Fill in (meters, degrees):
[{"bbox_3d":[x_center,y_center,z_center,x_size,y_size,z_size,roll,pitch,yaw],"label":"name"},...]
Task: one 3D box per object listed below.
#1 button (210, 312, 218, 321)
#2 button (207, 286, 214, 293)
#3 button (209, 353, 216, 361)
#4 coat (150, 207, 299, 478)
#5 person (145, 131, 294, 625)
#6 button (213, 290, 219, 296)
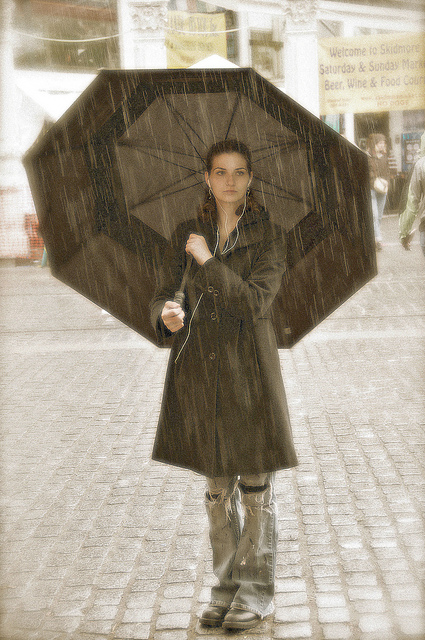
[{"bbox_3d":[0.002,-0.012,2.584,0.029,0.026,0.007,4,13,35],"label":"button"},{"bbox_3d":[-0.008,-0.104,2.504,0.027,0.022,0.004,5,14,40],"label":"button"},{"bbox_3d":[-0.001,0.125,2.576,0.023,0.021,0.005,3,-1,29],"label":"button"},{"bbox_3d":[0.039,0.011,2.619,0.533,1.081,0.361,2,6,13],"label":"coat"},{"bbox_3d":[0.043,0.240,2.722,0.547,1.847,0.652,-3,11,6],"label":"person"},{"bbox_3d":[0.010,-0.093,2.495,0.024,0.020,0.003,5,14,40],"label":"button"}]
